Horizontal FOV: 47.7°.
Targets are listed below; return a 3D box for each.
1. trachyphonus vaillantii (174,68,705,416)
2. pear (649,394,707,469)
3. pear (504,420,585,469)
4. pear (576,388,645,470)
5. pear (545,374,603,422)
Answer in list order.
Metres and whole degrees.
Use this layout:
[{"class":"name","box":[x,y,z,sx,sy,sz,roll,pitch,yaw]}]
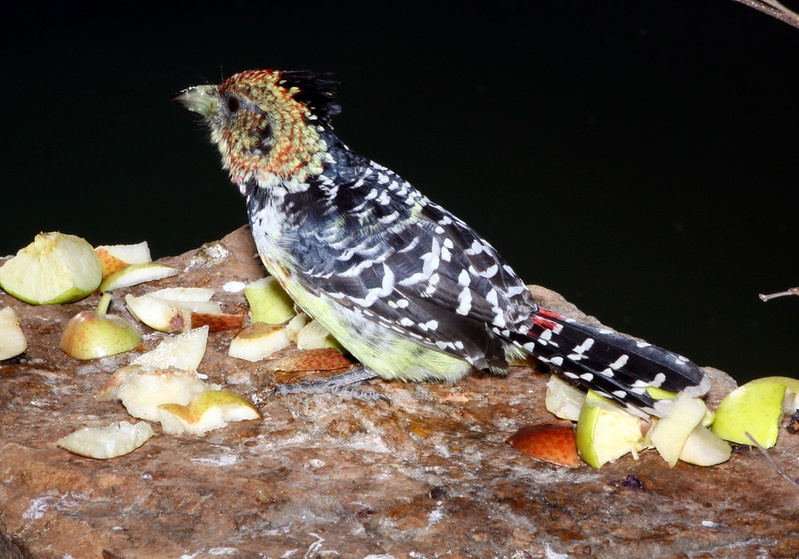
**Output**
[{"class":"trachyphonus vaillantii","box":[-0.030,-0.123,5.208,3.177,1.436,1.000,33,46,19]},{"class":"pear","box":[1.472,0.779,4.733,0.218,0.299,0.387,32,44,7]},{"class":"pear","box":[0.797,0.892,4.790,0.282,0.212,0.306,0,45,-20]},{"class":"pear","box":[1.105,0.805,4.753,0.379,0.159,0.313,-10,72,-19]},{"class":"pear","box":[0.953,0.670,5.174,0.414,0.175,0.323,4,12,36]}]
